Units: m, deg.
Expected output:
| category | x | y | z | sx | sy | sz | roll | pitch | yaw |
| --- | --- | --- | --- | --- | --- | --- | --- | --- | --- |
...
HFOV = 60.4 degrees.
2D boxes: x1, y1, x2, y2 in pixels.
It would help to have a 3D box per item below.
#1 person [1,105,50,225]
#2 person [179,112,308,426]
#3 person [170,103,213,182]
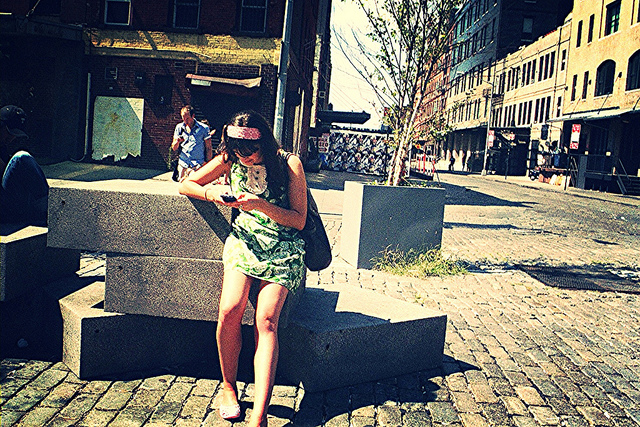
| category | x | y | z | sx | sy | sz | roll | pitch | yaw |
| --- | --- | --- | --- | --- | --- | --- | --- | --- | --- |
| person | -3.519 | -0.619 | 6.576 | 0.499 | 1.288 | 1.080 | 0 | 9 | -26 |
| person | -0.700 | 0.454 | 4.916 | 1.024 | 2.700 | 0.924 | 5 | 7 | 6 |
| person | -2.684 | -1.105 | 11.483 | 0.870 | 2.322 | 0.655 | -2 | -12 | -8 |
